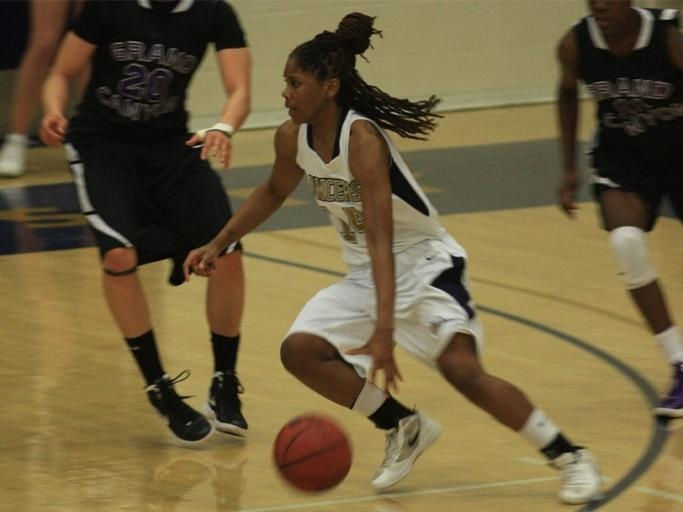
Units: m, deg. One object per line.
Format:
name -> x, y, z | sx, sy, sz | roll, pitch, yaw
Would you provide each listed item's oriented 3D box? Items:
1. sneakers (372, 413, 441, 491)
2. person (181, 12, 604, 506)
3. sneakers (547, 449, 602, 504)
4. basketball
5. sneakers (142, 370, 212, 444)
sneakers -> 0.228, 0.714, 2.685 | 0.168, 0.223, 0.300 | 12, 20, 25
person -> 0.149, -0.009, 2.590 | 0.825, 1.664, 1.408 | -13, 24, -36
sneakers -> 0.799, 0.747, 2.458 | 0.163, 0.093, 0.191 | 4, 31, -4
basketball -> -0.103, 0.688, 2.560 | 0.321, 0.224, 0.276 | 0, -7, -10
sneakers -> -0.668, 0.661, 3.058 | 0.389, 0.216, 0.173 | 40, 63, 14
